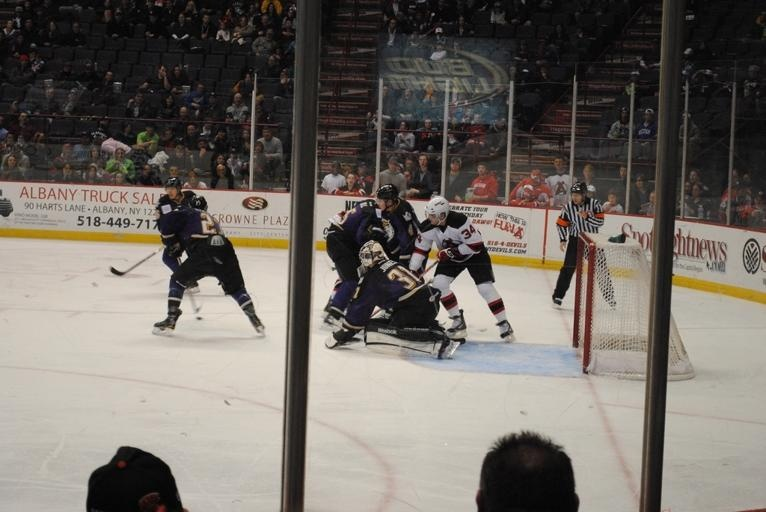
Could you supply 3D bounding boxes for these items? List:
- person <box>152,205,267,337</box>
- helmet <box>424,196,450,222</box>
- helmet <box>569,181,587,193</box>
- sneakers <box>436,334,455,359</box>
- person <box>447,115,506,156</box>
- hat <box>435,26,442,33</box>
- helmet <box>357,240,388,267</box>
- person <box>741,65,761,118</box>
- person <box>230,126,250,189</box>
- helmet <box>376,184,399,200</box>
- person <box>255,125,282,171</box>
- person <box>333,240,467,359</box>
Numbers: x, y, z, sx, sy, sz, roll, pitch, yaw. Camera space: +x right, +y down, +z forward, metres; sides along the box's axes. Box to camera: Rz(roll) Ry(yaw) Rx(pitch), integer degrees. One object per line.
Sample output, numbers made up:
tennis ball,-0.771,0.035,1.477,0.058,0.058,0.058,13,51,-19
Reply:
person,-1.935,0.176,9.706,1.185,1.422,0.592,2,3,8
helmet,0.557,-0.538,9.715,0.304,0.280,0.237,-3,20,15
helmet,2.462,-0.863,11.138,0.182,0.144,0.126,2,3,-3
sneakers,0.682,0.967,9.417,0.074,0.239,0.181,36,-20,-13
person,1.479,-1.875,13.956,0.906,0.568,0.377,2,3,6
hat,1.142,-4.683,18.141,0.127,0.113,0.163,-7,5,-45
helmet,-0.107,-0.025,9.192,0.305,0.242,0.230,5,-5,-24
person,5.568,-2.547,13.353,0.311,0.707,0.293,3,4,20
person,-2.362,-1.653,14.620,0.300,1.039,0.480,1,3,-10
helmet,0.050,-0.729,9.732,0.228,0.165,0.163,12,2,2
person,-1.899,-1.793,14.530,0.519,0.676,0.414,1,14,11
person,0.197,0.397,9.533,1.521,1.135,0.889,10,26,25
